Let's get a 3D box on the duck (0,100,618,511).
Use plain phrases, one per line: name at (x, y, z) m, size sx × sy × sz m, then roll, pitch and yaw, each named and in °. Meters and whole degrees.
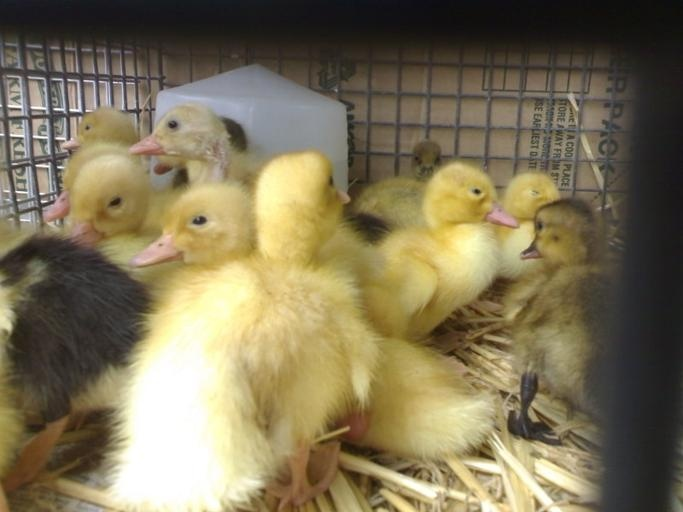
duck at (-0.038, 0.002, 1.001) m, size 0.748 × 0.463 × 0.349 m, roll 0°, pitch 5°, yaw 5°
